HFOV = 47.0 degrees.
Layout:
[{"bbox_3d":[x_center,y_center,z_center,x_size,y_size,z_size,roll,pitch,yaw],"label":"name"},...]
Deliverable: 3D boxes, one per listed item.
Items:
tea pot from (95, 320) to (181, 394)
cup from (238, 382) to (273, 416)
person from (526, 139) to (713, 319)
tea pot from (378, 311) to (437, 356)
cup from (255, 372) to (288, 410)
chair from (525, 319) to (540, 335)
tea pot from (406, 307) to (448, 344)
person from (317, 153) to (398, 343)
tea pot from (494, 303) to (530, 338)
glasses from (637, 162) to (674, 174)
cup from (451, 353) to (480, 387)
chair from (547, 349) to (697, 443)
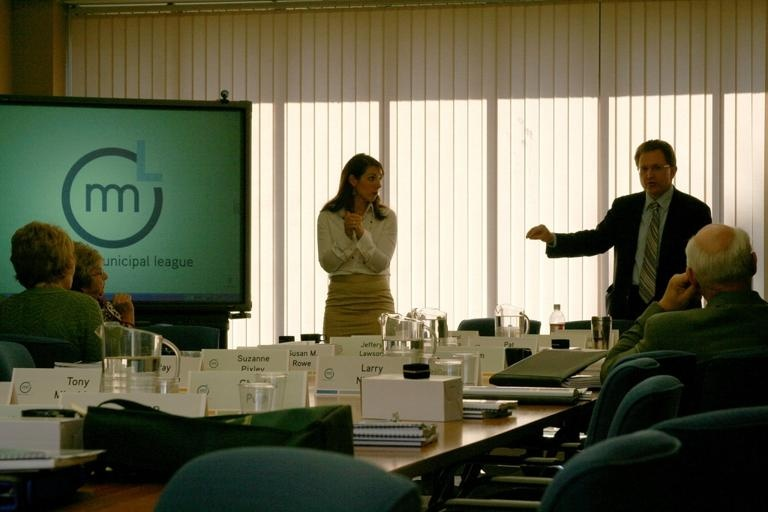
[{"bbox_3d":[-0.809,0.347,3.006,0.276,0.335,0.189,1,-3,7],"label":"tea pot"},{"bbox_3d":[-0.387,0.443,2.716,0.085,0.075,0.088,-1,-7,0],"label":"cup"},{"bbox_3d":[1.649,-0.207,6.182,0.984,1.748,0.520,-11,-24,38],"label":"person"},{"bbox_3d":[0.089,0.320,3.599,0.196,0.171,0.158,0,-1,21],"label":"tea pot"},{"bbox_3d":[-0.353,0.433,2.853,0.092,0.163,0.111,-2,-4,26],"label":"cup"},{"bbox_3d":[1.075,0.521,6.420,0.114,0.122,0.119,3,4,21],"label":"chair"},{"bbox_3d":[0.234,0.344,4.502,0.116,0.231,0.193,0,0,-42],"label":"tea pot"},{"bbox_3d":[-0.162,-0.059,5.256,0.469,1.082,0.317,-2,-2,-4],"label":"person"},{"bbox_3d":[0.751,0.412,5.168,0.190,0.240,0.126,-2,-19,12],"label":"tea pot"},{"bbox_3d":[1.660,-0.535,5.386,0.216,0.066,0.161,-4,-2,18],"label":"glasses"},{"bbox_3d":[0.355,0.477,3.682,0.098,0.117,0.083,1,-18,39],"label":"cup"},{"bbox_3d":[0.839,0.494,3.177,0.273,0.469,0.376,-5,16,-35],"label":"chair"}]
